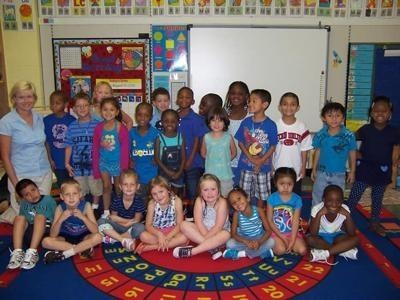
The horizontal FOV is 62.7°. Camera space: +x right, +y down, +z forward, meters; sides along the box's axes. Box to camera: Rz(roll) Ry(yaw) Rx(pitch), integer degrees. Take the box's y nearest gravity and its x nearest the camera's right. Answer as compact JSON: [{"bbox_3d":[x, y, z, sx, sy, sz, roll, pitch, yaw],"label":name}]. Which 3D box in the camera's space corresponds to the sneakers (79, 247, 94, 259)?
[{"bbox_3d":[-1.037,0.952,3.020,0.142,0.067,0.058,0,-6,-2],"label":"sneakers"}]

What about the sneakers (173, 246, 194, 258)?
[{"bbox_3d":[-0.157,0.937,3.033,0.201,0.078,0.085,-4,9,-6],"label":"sneakers"}]

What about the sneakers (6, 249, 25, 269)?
[{"bbox_3d":[-1.645,0.965,2.904,0.086,0.113,0.238,1,-3,-6],"label":"sneakers"}]

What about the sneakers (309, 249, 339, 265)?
[{"bbox_3d":[1.128,0.958,2.977,0.199,0.084,0.119,11,-5,-9],"label":"sneakers"}]

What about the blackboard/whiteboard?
[{"bbox_3d":[0.830,-1.138,4.818,1.791,1.339,0.067,0,13,1],"label":"blackboard/whiteboard"}]

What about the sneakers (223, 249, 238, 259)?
[{"bbox_3d":[0.283,0.960,3.040,0.135,0.065,0.059,-1,11,6],"label":"sneakers"}]

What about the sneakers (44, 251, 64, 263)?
[{"bbox_3d":[-1.310,0.943,2.974,0.083,0.077,0.189,0,3,24],"label":"sneakers"}]

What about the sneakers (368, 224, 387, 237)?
[{"bbox_3d":[1.916,0.852,3.523,0.080,0.072,0.162,-17,18,-28],"label":"sneakers"}]

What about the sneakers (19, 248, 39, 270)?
[{"bbox_3d":[-1.512,0.965,2.910,0.073,0.095,0.208,0,0,-8],"label":"sneakers"}]

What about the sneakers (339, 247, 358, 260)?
[{"bbox_3d":[1.387,0.954,3.025,0.192,0.087,0.072,-1,11,11],"label":"sneakers"}]

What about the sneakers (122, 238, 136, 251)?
[{"bbox_3d":[-0.691,0.907,3.175,0.131,0.084,0.053,20,13,41],"label":"sneakers"}]
